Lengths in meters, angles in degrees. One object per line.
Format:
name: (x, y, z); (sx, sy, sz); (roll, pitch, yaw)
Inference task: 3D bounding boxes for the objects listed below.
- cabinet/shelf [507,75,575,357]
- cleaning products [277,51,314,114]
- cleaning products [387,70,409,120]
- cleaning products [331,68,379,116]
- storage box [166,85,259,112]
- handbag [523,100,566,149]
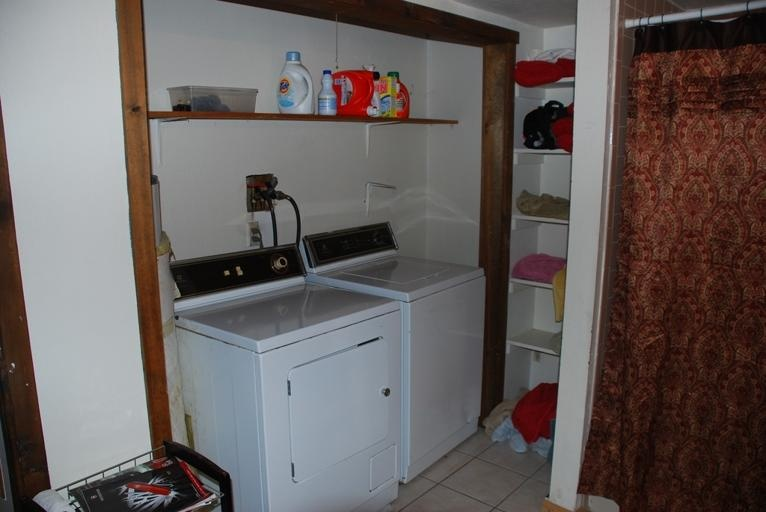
cabinet/shelf: (1.086, -0.188, 4.011); (0.385, 1.928, 0.660); (3, 16, 25)
cleaning products: (-0.484, -0.904, 3.093); (0.195, 0.321, 0.177); (-3, 15, 3)
cleaning products: (0.092, -0.957, 3.495); (0.107, 0.274, 0.219); (-3, 15, 3)
cleaning products: (-0.165, -0.956, 3.469); (0.301, 0.271, 0.211); (10, 13, 31)
storage box: (-0.854, -0.783, 2.987); (0.326, 0.100, 0.211); (-6, 11, -41)
handbag: (1.046, -0.822, 3.796); (0.265, 0.266, 0.162); (-1, 15, 13)
